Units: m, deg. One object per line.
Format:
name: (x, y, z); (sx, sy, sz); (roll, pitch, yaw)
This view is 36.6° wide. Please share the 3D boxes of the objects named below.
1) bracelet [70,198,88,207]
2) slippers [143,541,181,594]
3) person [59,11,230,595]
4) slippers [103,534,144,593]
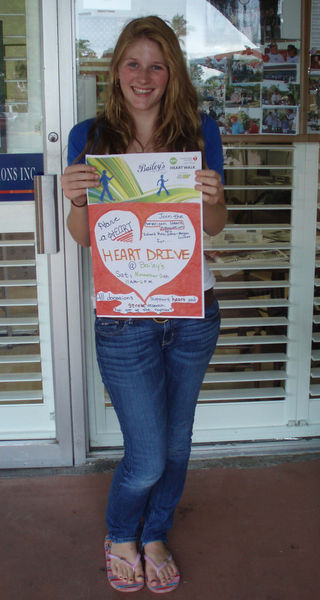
bracelet: (-0.200, -0.239, 1.201); (0.037, 0.020, 0.035); (-4, 12, -13)
slippers: (0.002, 0.804, 1.491); (0.098, 0.052, 0.234); (3, 11, -9)
person: (-0.028, 0.084, 1.333); (0.422, 1.574, 0.358); (0, 10, 8)
slippers: (-0.117, 0.803, 1.529); (0.114, 0.052, 0.290); (2, 7, -11)
